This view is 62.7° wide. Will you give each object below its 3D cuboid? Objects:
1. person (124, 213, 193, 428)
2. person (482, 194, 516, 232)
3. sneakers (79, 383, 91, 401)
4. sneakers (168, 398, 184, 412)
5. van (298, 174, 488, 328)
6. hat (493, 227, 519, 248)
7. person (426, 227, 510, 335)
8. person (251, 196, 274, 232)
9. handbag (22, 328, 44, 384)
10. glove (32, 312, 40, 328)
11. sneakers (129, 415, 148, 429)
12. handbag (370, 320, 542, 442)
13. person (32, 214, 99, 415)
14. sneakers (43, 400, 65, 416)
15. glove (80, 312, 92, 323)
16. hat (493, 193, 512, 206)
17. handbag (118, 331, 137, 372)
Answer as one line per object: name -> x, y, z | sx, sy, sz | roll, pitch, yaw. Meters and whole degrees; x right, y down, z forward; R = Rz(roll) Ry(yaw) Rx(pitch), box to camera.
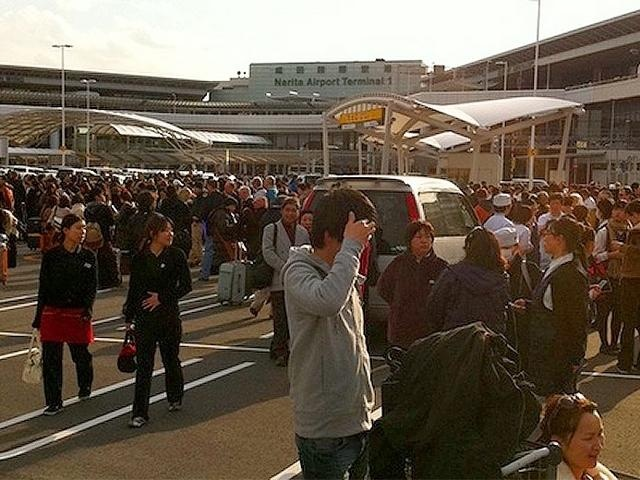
person -> -1.782, 0.839, 5.822 | 0.719, 2.242, 0.631 | -2, 4, -30
person -> 3.186, -0.476, 9.442 | 0.403, 0.693, 0.768 | -12, 18, -41
sneakers -> -2.818, 1.842, 6.318 | 0.110, 0.164, 0.167 | 4, 6, 5
sneakers -> -1.638, 1.888, 5.942 | 0.099, 0.114, 0.165 | 4, 11, -6
van -> 1.395, -0.072, 8.487 | 1.830, 1.731, 3.287 | 0, 8, 24
hat -> 2.116, -0.024, 5.992 | 0.302, 0.244, 0.231 | 14, 9, 28
person -> 1.282, 0.369, 4.573 | 0.674, 0.935, 0.410 | 2, 4, 19
person -> -1.485, -0.704, 13.296 | 0.423, 0.993, 0.726 | 13, 6, -3
handbag -> -3.236, 1.359, 5.933 | 0.194, 0.665, 0.414 | -2, 4, -29
glove -> -3.222, 0.922, 5.992 | 0.149, 0.193, 0.076 | 4, 5, 45
sneakers -> -1.897, 1.915, 5.494 | 0.207, 0.092, 0.077 | 5, 2, -5
handbag -> 0.801, 0.844, 2.992 | 0.647, 0.409, 0.839 | 13, 26, 41
person -> -2.912, 0.818, 6.051 | 0.656, 2.220, 0.503 | -2, 4, -33
sneakers -> -2.941, 1.888, 5.875 | 0.090, 0.105, 0.245 | 1, -2, 25
glove -> -2.664, 0.897, 6.062 | 0.133, 0.115, 0.118 | 10, -7, 12
hat -> 3.253, -0.707, 9.476 | 0.261, 0.165, 0.311 | 0, 4, 12
handbag -> -2.101, 1.262, 5.759 | 0.185, 0.518, 0.412 | -1, 4, -21
